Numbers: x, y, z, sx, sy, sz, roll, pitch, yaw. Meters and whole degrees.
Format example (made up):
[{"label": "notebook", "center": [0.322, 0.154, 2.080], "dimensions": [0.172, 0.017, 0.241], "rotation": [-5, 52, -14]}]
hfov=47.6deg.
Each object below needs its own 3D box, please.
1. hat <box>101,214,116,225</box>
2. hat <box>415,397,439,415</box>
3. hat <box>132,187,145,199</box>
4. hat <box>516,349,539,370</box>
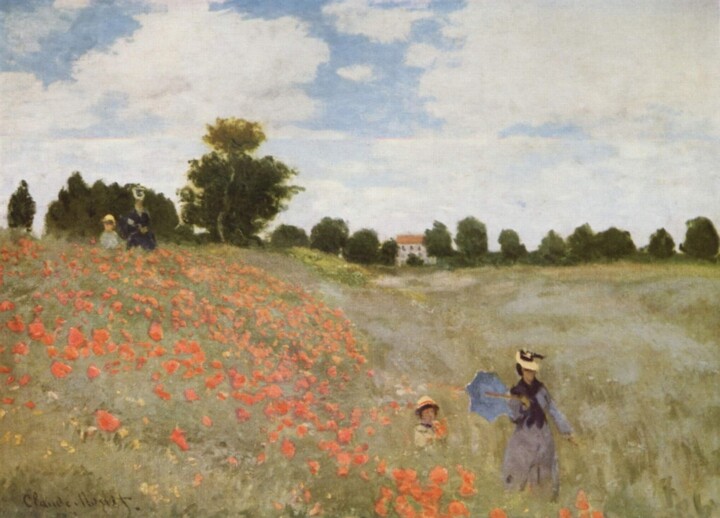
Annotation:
[{"label": "hat", "center": [-4.370, -0.701, 14.188], "dimensions": [0.150, 0.203, 0.102], "rotation": [14, -9, -10]}, {"label": "hat", "center": [1.107, 2.415, 13.603], "dimensions": [0.275, 0.145, 0.290], "rotation": [-2, -2, -7]}, {"label": "hat", "center": [-3.898, -1.165, 14.277], "dimensions": [0.184, 0.215, 0.060], "rotation": [-6, -5, 7]}, {"label": "hat", "center": [2.781, 1.655, 13.492], "dimensions": [0.382, 0.228, 0.438], "rotation": [5, -3, 11]}]
